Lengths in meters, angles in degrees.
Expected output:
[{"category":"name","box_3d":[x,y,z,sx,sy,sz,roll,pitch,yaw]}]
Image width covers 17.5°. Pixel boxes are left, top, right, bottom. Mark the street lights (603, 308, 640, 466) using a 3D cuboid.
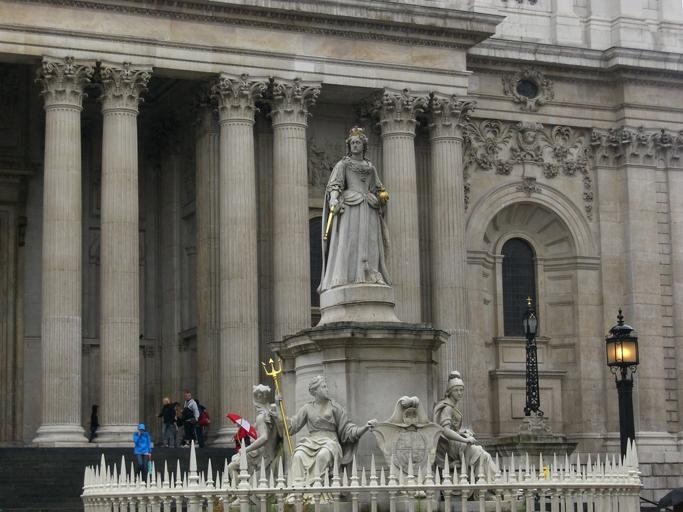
[{"category":"street lights","box_3d":[8.409,4.085,66.437,0.835,4.745,0.937,-2,1,17]}]
